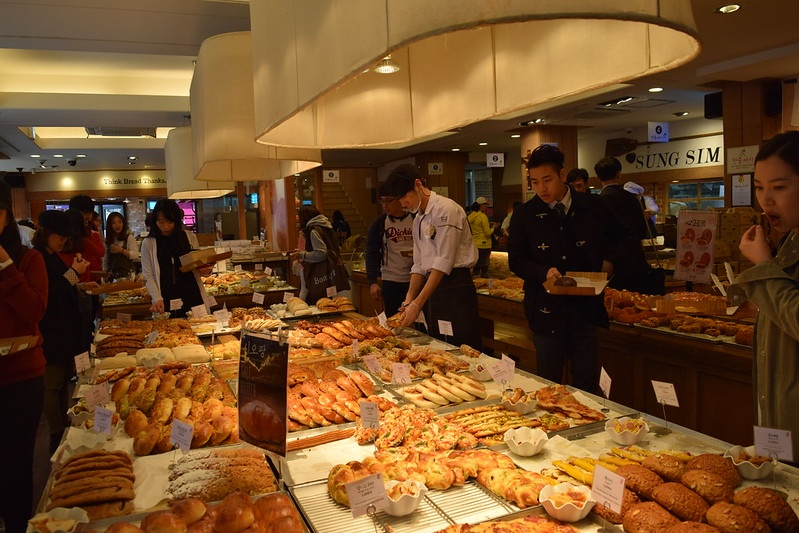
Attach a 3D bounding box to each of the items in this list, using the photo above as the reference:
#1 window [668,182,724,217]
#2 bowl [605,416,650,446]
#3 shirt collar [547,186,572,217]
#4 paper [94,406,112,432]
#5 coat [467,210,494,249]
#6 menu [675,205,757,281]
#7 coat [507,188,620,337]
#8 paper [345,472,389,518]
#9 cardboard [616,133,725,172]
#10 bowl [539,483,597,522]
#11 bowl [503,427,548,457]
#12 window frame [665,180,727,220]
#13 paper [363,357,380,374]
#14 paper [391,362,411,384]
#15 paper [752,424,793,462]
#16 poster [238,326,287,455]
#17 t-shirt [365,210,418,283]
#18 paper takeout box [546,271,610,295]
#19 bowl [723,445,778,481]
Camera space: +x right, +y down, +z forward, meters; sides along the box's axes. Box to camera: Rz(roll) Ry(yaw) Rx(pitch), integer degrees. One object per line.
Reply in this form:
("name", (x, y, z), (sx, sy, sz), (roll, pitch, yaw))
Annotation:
("window", (6.130, -1.440, 10.966), (0.085, 0.938, 1.519), (-5, 9, -25))
("bowl", (1.143, 0.822, 2.704), (0.148, 0.074, 0.147), (-1, -6, 0))
("shirt collar", (1.127, -0.469, 3.784), (0.137, 0.182, 0.106), (-15, 9, -7))
("paper", (-1.598, 0.828, 2.869), (0.140, 0.152, 0.017), (4, 6, 25))
("coat", (1.623, -0.760, 10.990), (0.524, 0.736, 0.666), (-2, 1, -37))
("menu", (3.119, -0.239, 5.265), (0.259, 0.919, 0.922), (-9, 7, -40))
("coat", (1.226, -0.044, 3.884), (0.869, 1.033, 0.588), (-7, 10, 5))
("paper", (-0.139, 0.979, 2.255), (0.210, 0.199, 0.024), (-5, 6, -22))
("cardboard", (6.375, -2.503, 12.330), (4.087, 0.930, 0.066), (-10, 8, -34))
("bowl", (0.707, 1.028, 2.310), (0.234, 0.103, 0.249), (-1, -4, 0))
("bowl", (0.633, 0.883, 2.680), (0.162, 0.069, 0.150), (-3, -1, 0))
("window frame", (5.878, -1.387, 10.533), (0.086, 0.960, 1.559), (-5, 9, -26))
("paper", (-0.183, 0.631, 3.505), (0.081, 0.129, 0.031), (-28, -2, 26))
("paper", (0.012, 0.678, 3.365), (0.122, 0.177, 0.177), (-4, 9, 0))
("paper", (1.646, 0.784, 2.350), (0.026, 0.182, 0.194), (-5, 6, -41))
("poster", (-0.654, 0.587, 2.537), (0.372, 0.536, 0.129), (4, 12, 37))
("t-shirt", (-0.015, -0.225, 5.437), (0.736, 0.750, 0.339), (-8, 13, -24))
("paper takeout box", (1.152, 0.132, 3.523), (0.374, 0.206, 0.372), (-1, 10, 16))
("bowl", (1.598, 0.894, 2.435), (0.194, 0.079, 0.186), (-8, 5, 1))
